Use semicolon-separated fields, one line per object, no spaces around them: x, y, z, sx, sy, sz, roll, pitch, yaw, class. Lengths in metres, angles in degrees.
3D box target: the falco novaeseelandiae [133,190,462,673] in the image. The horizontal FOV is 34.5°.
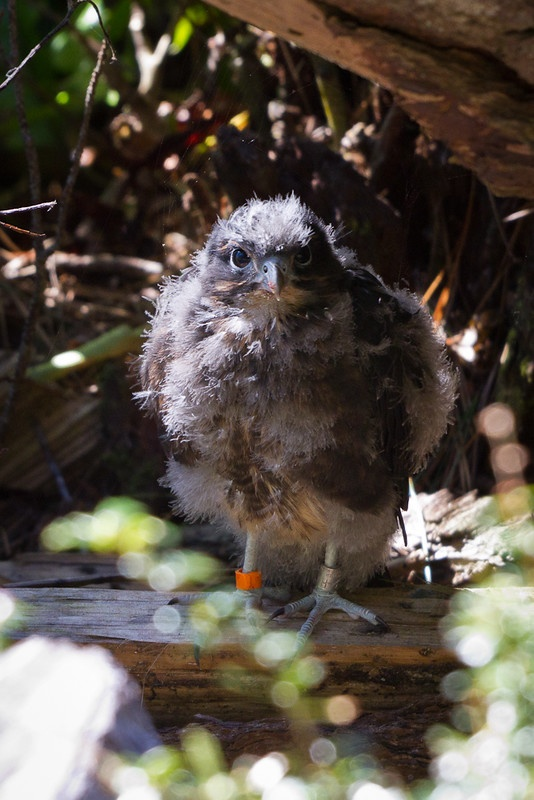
0.043;-0.003;2.231;0.975;1.165;0.554;0;7;-2;falco novaeseelandiae
